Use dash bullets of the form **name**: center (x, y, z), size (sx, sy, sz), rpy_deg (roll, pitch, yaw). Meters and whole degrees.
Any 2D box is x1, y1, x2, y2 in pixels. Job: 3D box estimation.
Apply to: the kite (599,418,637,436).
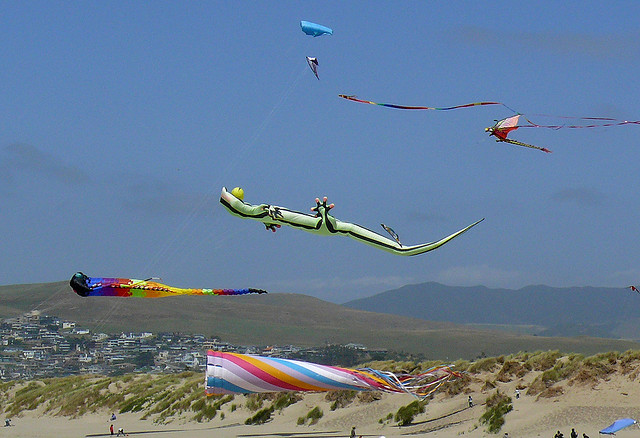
- **kite**: center (32.512, 23.293, 112.017), size (3.117, 0.846, 1.859), rpy_deg (-27, 5, -1)
